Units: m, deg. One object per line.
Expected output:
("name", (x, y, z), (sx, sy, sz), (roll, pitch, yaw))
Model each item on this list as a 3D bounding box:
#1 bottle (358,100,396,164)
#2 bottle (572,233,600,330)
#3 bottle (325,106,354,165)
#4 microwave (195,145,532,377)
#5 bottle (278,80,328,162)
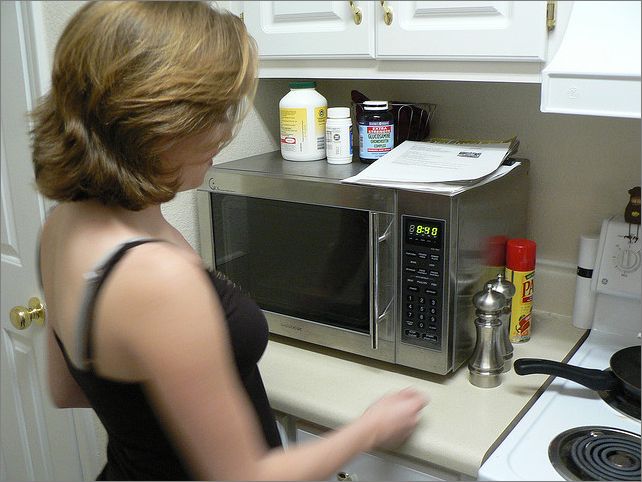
("bottle", (0.137, -0.268, 1.364), (0.121, 0.152, 0.128), (-2, 19, 1))
("bottle", (0.648, 0.103, 1.352), (0.033, 0.237, 0.053), (-10, 19, -28))
("bottle", (0.046, -0.268, 1.384), (0.072, 0.137, 0.073), (-2, 21, 1))
("microwave", (0.072, -0.001, 1.479), (0.668, 0.425, 0.491), (9, 19, 29))
("bottle", (-0.046, -0.314, 1.444), (0.123, 0.200, 0.125), (0, 14, 0))
